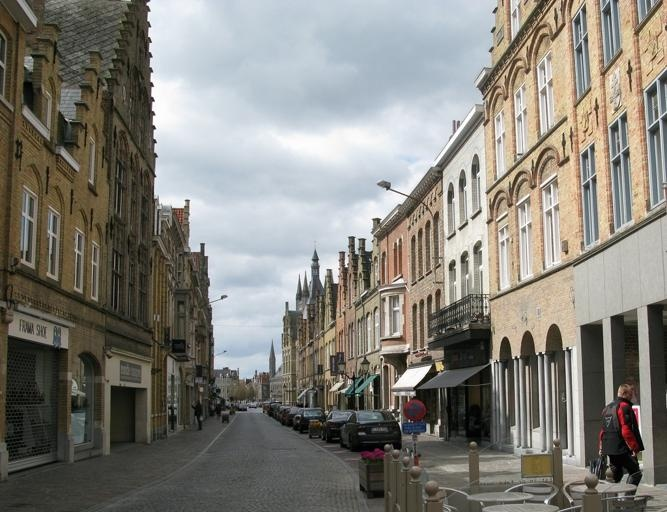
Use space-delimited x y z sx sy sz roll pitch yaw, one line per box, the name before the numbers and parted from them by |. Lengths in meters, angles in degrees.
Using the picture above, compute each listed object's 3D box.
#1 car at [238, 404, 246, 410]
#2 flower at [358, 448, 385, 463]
car | -15.662 25.945 160.164 1.360 0.769 2.293 2 -7 -6
flower | 0.969 4.966 23.118 0.341 0.328 0.643 10 -22 -28
